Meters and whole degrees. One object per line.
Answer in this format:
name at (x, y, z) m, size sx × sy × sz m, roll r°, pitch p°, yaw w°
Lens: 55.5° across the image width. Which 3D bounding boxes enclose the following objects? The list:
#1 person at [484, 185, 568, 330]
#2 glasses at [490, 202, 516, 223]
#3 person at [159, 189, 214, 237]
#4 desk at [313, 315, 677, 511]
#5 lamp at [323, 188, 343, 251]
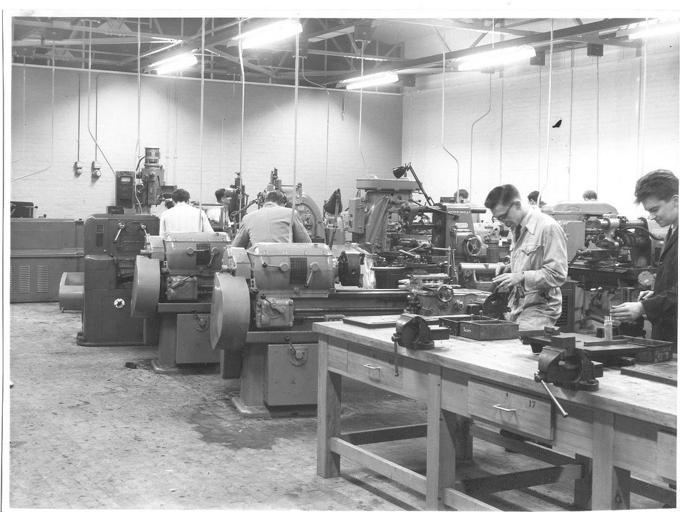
person at (1.307, -0.005, 4.593) m, size 0.567 × 0.992 × 0.374 m, roll 3°, pitch 6°, yaw 19°
glasses at (1.167, -0.308, 4.678) m, size 0.110 × 0.130 × 0.144 m, roll 0°, pitch 4°, yaw 9°
person at (-1.682, -0.499, 7.129) m, size 0.555 × 0.479 × 0.891 m, roll -2°, pitch 7°, yaw -28°
desk at (0.820, 0.872, 3.498) m, size 0.567 × 0.519 × 1.149 m, roll -1°, pitch 4°, yaw -30°
lamp at (-0.174, -0.700, 12.047) m, size 0.365 × 1.138 × 0.338 m, roll 16°, pitch 25°, yaw 30°
